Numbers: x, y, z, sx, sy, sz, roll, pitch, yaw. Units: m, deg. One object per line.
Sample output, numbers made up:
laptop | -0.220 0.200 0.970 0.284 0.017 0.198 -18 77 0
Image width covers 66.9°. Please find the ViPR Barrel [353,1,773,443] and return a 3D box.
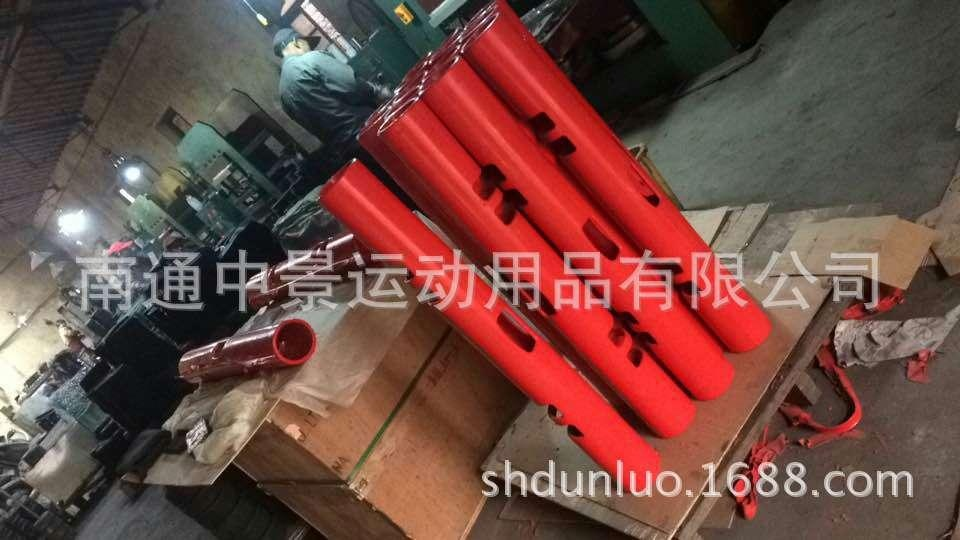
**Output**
ViPR Barrel | 0.772 -0.271 5.963 1.579 4.084 1.689 -42 13 12

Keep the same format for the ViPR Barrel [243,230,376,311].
ViPR Barrel | -1.549 0.074 6.644 1.607 0.481 0.474 -19 19 30

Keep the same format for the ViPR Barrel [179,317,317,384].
ViPR Barrel | -1.984 0.724 6.340 1.418 0.512 0.417 -12 34 34

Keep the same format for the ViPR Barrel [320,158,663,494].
ViPR Barrel | 0.104 0.442 5.810 0.534 3.604 0.502 -45 9 9
